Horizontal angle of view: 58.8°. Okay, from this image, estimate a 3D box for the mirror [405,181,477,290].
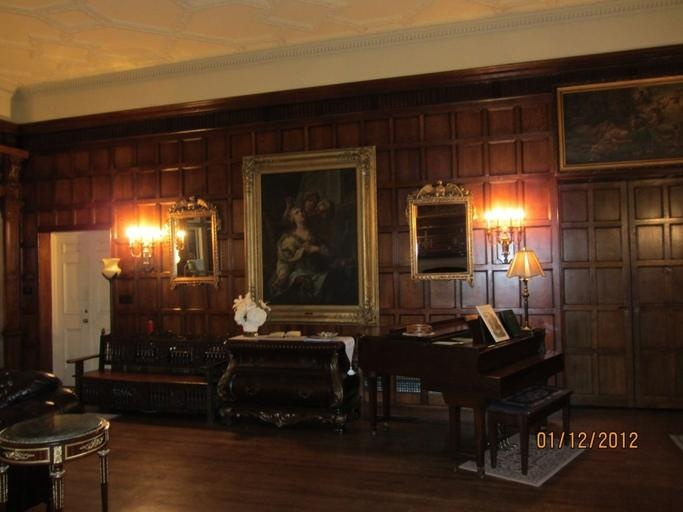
[{"bbox_3d":[1.443,-0.347,8.794,0.936,1.465,0.320,-1,7,5],"label":"mirror"}]

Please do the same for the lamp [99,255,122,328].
[{"bbox_3d":[-3.824,0.623,10.185,0.293,1.239,0.788,-4,7,-21],"label":"lamp"}]

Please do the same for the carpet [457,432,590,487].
[{"bbox_3d":[2.063,2.235,6.777,0.918,0.010,1.578,1,-35,0],"label":"carpet"}]

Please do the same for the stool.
[{"bbox_3d":[2.177,1.922,6.904,0.503,0.622,1.299,-2,1,41],"label":"stool"}]

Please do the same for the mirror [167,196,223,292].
[{"bbox_3d":[-2.381,-0.230,9.732,0.903,1.435,0.286,1,7,20],"label":"mirror"}]

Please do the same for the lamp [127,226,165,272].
[{"bbox_3d":[-3.180,-0.117,10.270,0.685,0.799,0.715,1,-4,-11],"label":"lamp"}]

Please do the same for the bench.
[{"bbox_3d":[-2.905,1.827,8.994,1.998,1.037,0.671,1,4,16],"label":"bench"}]

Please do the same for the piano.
[{"bbox_3d":[1.428,1.480,7.392,2.038,1.322,1.881,1,1,35],"label":"piano"}]

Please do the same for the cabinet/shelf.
[{"bbox_3d":[-0.674,1.726,8.528,1.755,1.116,1.074,0,-2,12],"label":"cabinet/shelf"}]

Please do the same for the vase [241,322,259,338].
[{"bbox_3d":[-1.285,1.033,8.593,0.209,0.208,0.206,2,6,20],"label":"vase"}]

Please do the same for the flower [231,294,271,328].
[{"bbox_3d":[-1.204,0.778,8.615,0.441,0.281,0.529,-4,-2,-12],"label":"flower"}]

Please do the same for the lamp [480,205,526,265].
[{"bbox_3d":[2.304,-0.307,8.602,0.609,0.832,0.284,0,7,16],"label":"lamp"}]
